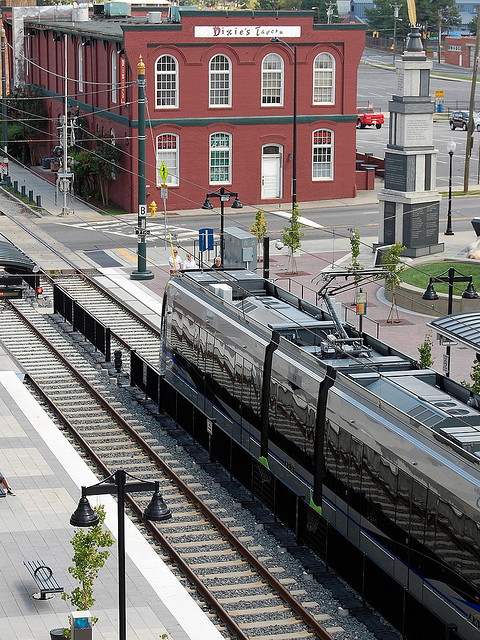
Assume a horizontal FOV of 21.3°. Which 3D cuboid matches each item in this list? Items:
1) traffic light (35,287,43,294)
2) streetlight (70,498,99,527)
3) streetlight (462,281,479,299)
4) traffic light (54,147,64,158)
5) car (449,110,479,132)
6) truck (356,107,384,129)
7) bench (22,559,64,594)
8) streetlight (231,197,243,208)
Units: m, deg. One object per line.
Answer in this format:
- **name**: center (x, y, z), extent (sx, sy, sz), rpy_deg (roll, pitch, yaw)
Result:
- **traffic light**: center (-6.309, -0.875, 40.445), extent (0.251, 0.280, 0.297), rpy_deg (1, 10, -9)
- **streetlight**: center (-1.885, 2.368, 15.682), extent (0.331, 0.337, 0.339), rpy_deg (7, 10, 38)
- **streetlight**: center (5.306, -0.625, 29.530), extent (0.375, 0.451, 0.389), rpy_deg (-5, 14, -19)
- **traffic light**: center (-8.651, -8.063, 61.515), extent (0.143, 0.481, 0.444), rpy_deg (7, 6, 42)
- **car**: center (15.390, -13.545, 87.449), extent (1.842, 1.442, 2.691), rpy_deg (-1, 10, 5)
- **truck**: center (9.288, -14.269, 90.655), extent (1.814, 1.533, 2.797), rpy_deg (0, 10, 6)
- **bench**: center (-2.884, 3.820, 18.970), extent (0.228, 0.182, 0.717), rpy_deg (-6, 24, -17)
- **streetlight**: center (-0.056, -5.091, 55.869), extent (0.499, 0.612, 0.524), rpy_deg (-3, 14, -13)
